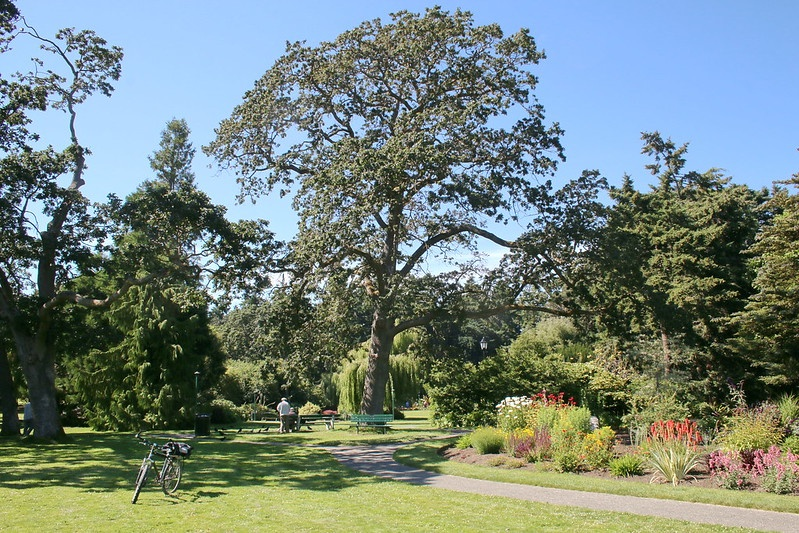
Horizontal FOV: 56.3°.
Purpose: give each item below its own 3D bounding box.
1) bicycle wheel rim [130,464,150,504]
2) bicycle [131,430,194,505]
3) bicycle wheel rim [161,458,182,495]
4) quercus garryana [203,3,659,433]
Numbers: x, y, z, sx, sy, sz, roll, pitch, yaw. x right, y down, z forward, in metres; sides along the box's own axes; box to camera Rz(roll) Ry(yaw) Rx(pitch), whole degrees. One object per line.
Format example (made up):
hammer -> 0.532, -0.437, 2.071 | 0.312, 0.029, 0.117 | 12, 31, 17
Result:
bicycle wheel rim -> -8.650, 7.200, 24.980 | 0.522, 1.285, 1.002 | 5, -15, -18
bicycle -> -8.118, 6.719, 25.088 | 1.258, 1.940, 3.116 | 13, -5, 13
bicycle wheel rim -> -7.805, 7.179, 25.538 | 0.425, 1.172, 0.998 | -5, -16, 21
quercus garryana -> 1.256, -4.530, 39.550 | 18.996, 26.436, 23.324 | 2, -8, 8
